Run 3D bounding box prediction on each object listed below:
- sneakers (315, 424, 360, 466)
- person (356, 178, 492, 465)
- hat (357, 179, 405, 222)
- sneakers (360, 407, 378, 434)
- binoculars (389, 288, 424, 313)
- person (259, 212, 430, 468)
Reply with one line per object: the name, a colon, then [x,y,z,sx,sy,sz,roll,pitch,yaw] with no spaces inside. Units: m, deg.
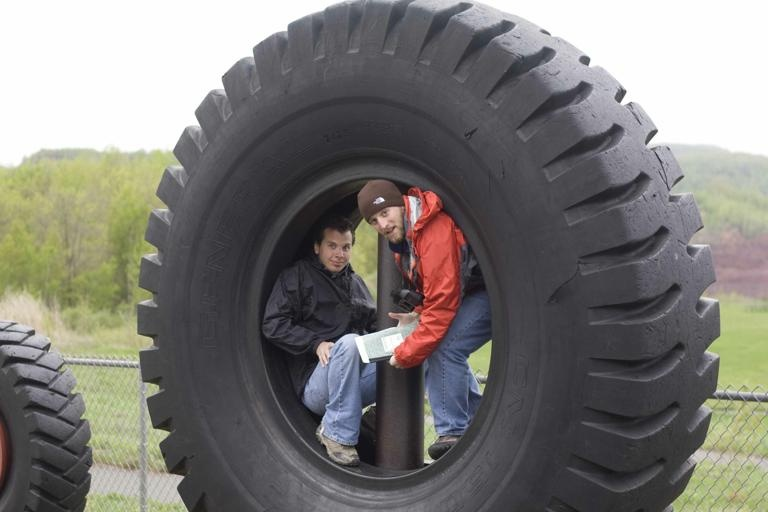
sneakers: [-0.314,1.290,5.349,0.294,0.148,0.153,33,13,36]
person: [0.297,0.448,5.193,0.828,1.918,0.660,-2,3,-6]
hat: [0.005,-0.390,5.261,0.246,0.258,0.240,-13,-11,19]
sneakers: [-0.114,1.239,6.109,0.059,0.200,0.182,-3,17,-10]
binoculars: [0.149,0.285,5.222,0.167,0.069,0.137,13,-38,35]
person: [-0.272,0.568,5.887,1.000,1.916,1.088,-16,-18,28]
